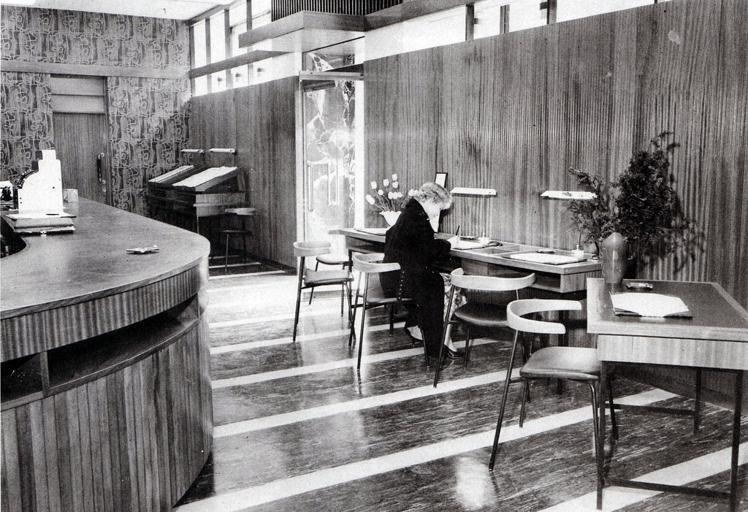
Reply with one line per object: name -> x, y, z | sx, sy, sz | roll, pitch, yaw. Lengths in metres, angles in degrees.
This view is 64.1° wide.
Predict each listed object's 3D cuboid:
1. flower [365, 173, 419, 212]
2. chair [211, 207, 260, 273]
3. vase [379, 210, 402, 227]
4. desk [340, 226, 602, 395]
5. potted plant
flower -> 0.191, -0.803, 7.811 | 0.537, 0.529, 0.610 | -2, 14, -6
chair -> -2.588, -0.412, 10.863 | 0.796, 0.993, 1.896 | -3, 9, -16
vase -> 0.198, -0.474, 7.401 | 0.246, 0.160, 0.240 | -6, 9, -32
desk -> 0.627, 0.348, 6.584 | 3.450, 1.123, 2.933 | 3, 9, 22
potted plant -> 2.178, -0.424, 5.135 | 0.687, 1.261, 0.998 | -4, 9, -21
